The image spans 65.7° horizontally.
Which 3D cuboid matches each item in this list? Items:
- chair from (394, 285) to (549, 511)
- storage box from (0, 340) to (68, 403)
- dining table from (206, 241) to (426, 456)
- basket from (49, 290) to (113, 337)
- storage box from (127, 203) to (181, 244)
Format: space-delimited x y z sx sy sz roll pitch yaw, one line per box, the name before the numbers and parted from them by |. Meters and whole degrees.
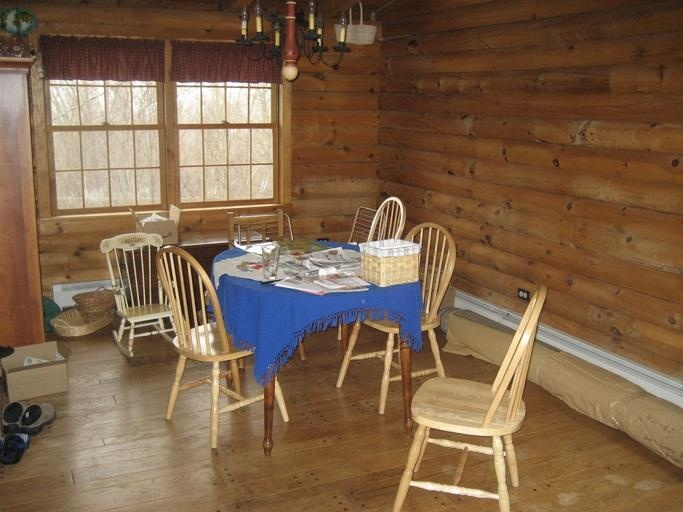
chair | 0.691 0.779 2.875 0.671 1.329 0.699 4 20 19
storage box | -2.369 0.847 4.026 0.517 0.230 0.490 -10 20 -39
dining table | -0.429 0.567 3.590 1.536 0.667 1.345 -3 14 -21
basket | -2.526 0.537 5.134 0.473 0.260 0.578 6 12 27
storage box | -1.885 -0.334 5.403 0.597 0.305 0.630 -3 9 -29
